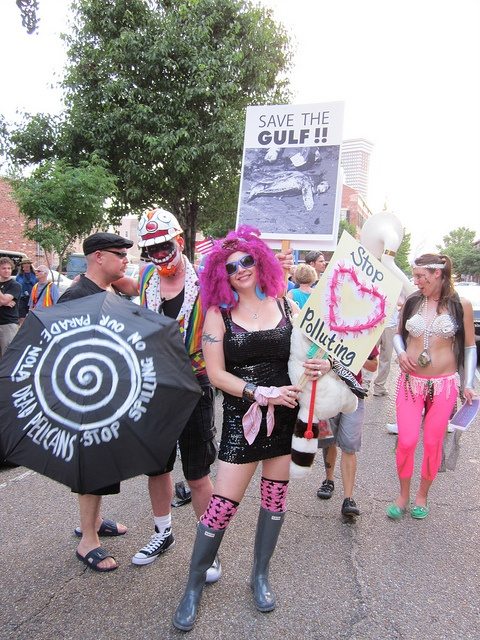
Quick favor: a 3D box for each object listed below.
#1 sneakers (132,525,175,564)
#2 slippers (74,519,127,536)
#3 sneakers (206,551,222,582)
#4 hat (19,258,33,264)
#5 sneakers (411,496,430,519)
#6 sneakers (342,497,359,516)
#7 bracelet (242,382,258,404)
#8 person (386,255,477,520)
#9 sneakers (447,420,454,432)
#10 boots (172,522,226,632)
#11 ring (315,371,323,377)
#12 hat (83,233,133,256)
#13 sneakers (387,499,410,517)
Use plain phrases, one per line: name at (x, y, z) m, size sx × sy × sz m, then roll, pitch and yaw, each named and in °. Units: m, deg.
sneakers at (-0.500, 1.293, 2.805) m, size 0.090 × 0.141 × 0.284 m, roll 4°, pitch 2°, yaw 36°
slippers at (-0.875, 1.304, 3.051) m, size 0.321 × 0.103 × 0.125 m, roll -1°, pitch 2°, yaw -5°
sneakers at (-0.126, 1.327, 2.593) m, size 0.071 × 0.086 × 0.213 m, roll -1°, pitch -12°, yaw 3°
hat at (-3.824, -1.051, 8.686) m, size 0.264 × 0.092 × 0.279 m, roll 0°, pitch 1°, yaw -11°
sneakers at (1.278, 1.341, 3.440) m, size 0.115 × 0.088 × 0.243 m, roll -6°, pitch -1°, yaw 26°
sneakers at (0.770, 1.303, 3.347) m, size 0.128 × 0.126 × 0.115 m, roll 1°, pitch 2°, yaw 3°
bracelet at (0.040, 0.334, 2.201) m, size 0.063 × 0.082 × 0.065 m, roll 13°, pitch 7°, yaw 38°
person at (1.372, 0.459, 3.459) m, size 0.542 × 1.849 × 0.485 m, roll 2°, pitch 2°, yaw 18°
sneakers at (1.493, 0.762, 3.436) m, size 0.044 × 0.091 × 0.188 m, roll 2°, pitch 2°, yaw 24°
boots at (-0.214, 1.155, 2.242) m, size 0.230 × 0.447 × 0.180 m, roll 0°, pitch 3°, yaw -35°
ring at (0.372, 0.264, 2.306) m, size 0.027 × 0.027 × 0.049 m, roll -2°, pitch -26°, yaw 6°
hat at (-0.763, -0.431, 2.784) m, size 0.196 × 0.096 × 0.171 m, roll -1°, pitch 3°, yaw -6°
sneakers at (1.119, 1.342, 3.450) m, size 0.121 × 0.075 × 0.282 m, roll 2°, pitch 2°, yaw 24°
